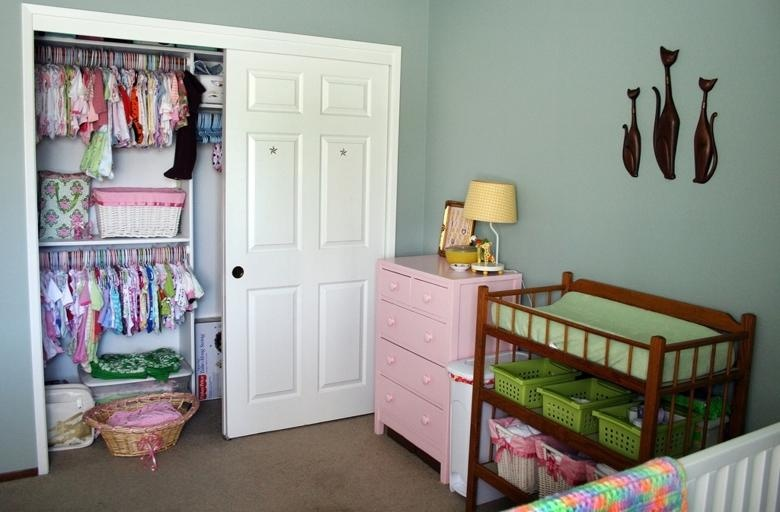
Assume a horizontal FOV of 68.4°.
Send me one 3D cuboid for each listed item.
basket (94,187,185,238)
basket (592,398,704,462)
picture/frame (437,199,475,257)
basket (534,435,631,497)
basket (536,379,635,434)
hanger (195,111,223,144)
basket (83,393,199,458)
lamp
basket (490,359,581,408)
[{"bbox_3d":[-1.766,-0.334,4.048,0.549,0.293,0.356,-5,13,-28],"label":"basket"},{"bbox_3d":[1.133,0.811,2.676,0.248,0.123,0.341,-5,11,-24],"label":"basket"},{"bbox_3d":[0.460,-0.191,3.969,0.071,0.405,0.368,3,6,-28],"label":"picture/frame"},{"bbox_3d":[0.928,1.061,2.901,0.247,0.205,0.326,-1,0,-26],"label":"basket"},{"bbox_3d":[0.986,0.694,2.931,0.338,0.144,0.259,-11,16,-38],"label":"basket"},{"bbox_3d":[-1.321,-0.940,4.210,0.241,0.253,0.091,-6,16,-20],"label":"hanger"},{"bbox_3d":[-1.712,0.986,3.847,0.542,0.211,0.384,-5,16,-32],"label":"basket"},{"bbox_3d":[0.652,-0.205,3.697,0.306,0.551,0.338,6,13,30],"label":"lamp"},{"bbox_3d":[0.789,0.654,3.137,0.331,0.119,0.255,-8,13,-32],"label":"basket"}]
